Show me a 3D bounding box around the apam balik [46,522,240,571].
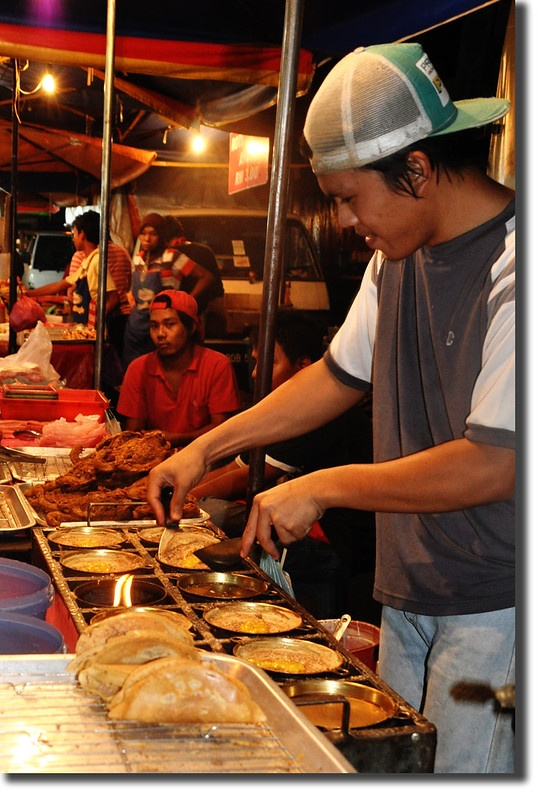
[{"bbox_3d":[-0.348,0.438,1.983,0.331,0.044,0.223,2,6,8],"label":"apam balik"}]

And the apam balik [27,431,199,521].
[{"bbox_3d":[-0.627,0.304,2.494,0.406,0.118,0.358,-22,21,-40],"label":"apam balik"}]

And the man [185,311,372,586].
[{"bbox_3d":[0.225,0.243,4.062,1.324,1.614,1.173,5,-3,-4],"label":"man"}]

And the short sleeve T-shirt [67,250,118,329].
[{"bbox_3d":[-2.012,-1.199,7.504,0.382,0.830,1.054,-7,17,-39],"label":"short sleeve T-shirt"}]

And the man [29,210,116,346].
[{"bbox_3d":[-2.370,-1.283,7.550,1.081,1.707,0.552,-15,52,-28],"label":"man"}]

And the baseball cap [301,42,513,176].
[{"bbox_3d":[0.266,-0.605,1.462,0.408,0.199,0.253,-17,29,5],"label":"baseball cap"}]

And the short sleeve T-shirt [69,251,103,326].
[{"bbox_3d":[-2.080,-1.230,7.491,0.329,0.887,0.635,-2,26,-27],"label":"short sleeve T-shirt"}]

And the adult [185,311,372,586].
[{"bbox_3d":[0.242,0.197,3.981,1.324,1.614,1.173,5,-3,-4],"label":"adult"}]

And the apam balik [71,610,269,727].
[{"bbox_3d":[-0.157,0.371,0.905,0.149,0.050,0.147,11,17,32],"label":"apam balik"}]

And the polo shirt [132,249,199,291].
[{"bbox_3d":[-1.071,-1.323,6.891,0.930,0.448,0.322,4,1,24],"label":"polo shirt"}]
